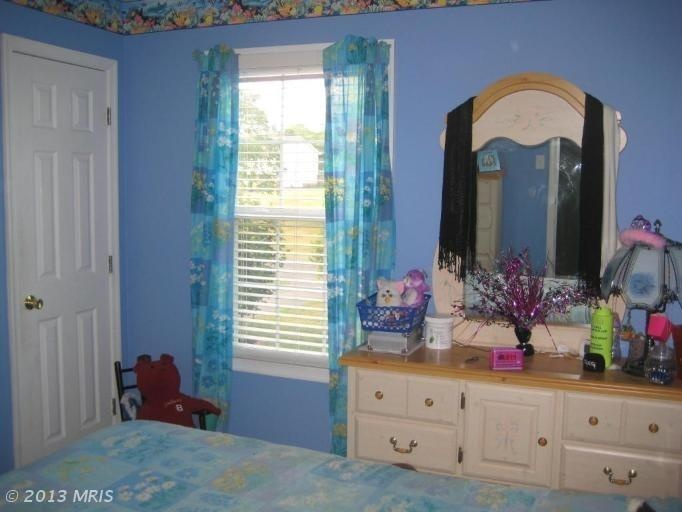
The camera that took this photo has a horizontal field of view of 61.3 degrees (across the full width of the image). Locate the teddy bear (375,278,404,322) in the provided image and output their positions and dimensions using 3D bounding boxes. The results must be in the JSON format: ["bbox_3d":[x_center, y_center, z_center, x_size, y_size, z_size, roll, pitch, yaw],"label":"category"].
[{"bbox_3d":[0.266,0.216,3.288,0.150,0.227,0.131,9,38,6],"label":"teddy bear"}]

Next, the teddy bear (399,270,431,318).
[{"bbox_3d":[0.441,0.172,3.349,0.143,0.238,0.202,3,24,-15],"label":"teddy bear"}]

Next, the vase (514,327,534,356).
[{"bbox_3d":[1.021,0.460,3.171,0.129,0.165,0.070,1,6,-10],"label":"vase"}]

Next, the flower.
[{"bbox_3d":[1.010,0.253,3.244,0.771,0.551,0.261,5,7,22],"label":"flower"}]

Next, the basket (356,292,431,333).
[{"bbox_3d":[0.299,0.324,3.323,0.364,0.200,0.320,4,7,17],"label":"basket"}]

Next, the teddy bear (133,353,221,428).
[{"bbox_3d":[-1.040,0.850,3.474,0.529,0.418,0.345,7,8,37],"label":"teddy bear"}]
